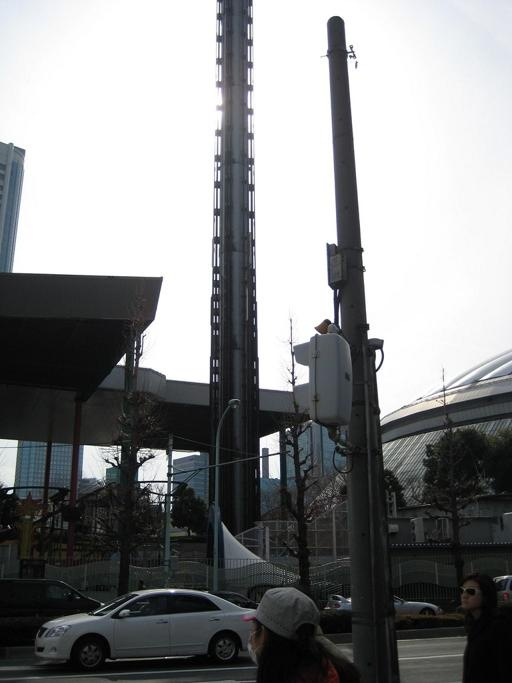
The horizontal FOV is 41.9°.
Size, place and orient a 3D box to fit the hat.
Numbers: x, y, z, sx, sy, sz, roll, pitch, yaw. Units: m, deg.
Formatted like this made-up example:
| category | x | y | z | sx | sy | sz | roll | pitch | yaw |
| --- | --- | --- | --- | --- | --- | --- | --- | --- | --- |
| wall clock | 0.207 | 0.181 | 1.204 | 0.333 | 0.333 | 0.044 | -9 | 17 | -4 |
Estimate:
| category | x | y | z | sx | sy | sz | roll | pitch | yaw |
| --- | --- | --- | --- | --- | --- | --- | --- | --- | --- |
| hat | 0.112 | 0.878 | 2.189 | 0.141 | 0.112 | 0.190 | 17 | -12 | -40 |

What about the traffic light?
| category | x | y | z | sx | sy | sz | roll | pitch | yaw |
| --- | --- | --- | --- | --- | --- | --- | --- | --- | --- |
| traffic light | 0.385 | 0.188 | 3.877 | 0.342 | 0.640 | 0.613 | -3 | -18 | 7 |
